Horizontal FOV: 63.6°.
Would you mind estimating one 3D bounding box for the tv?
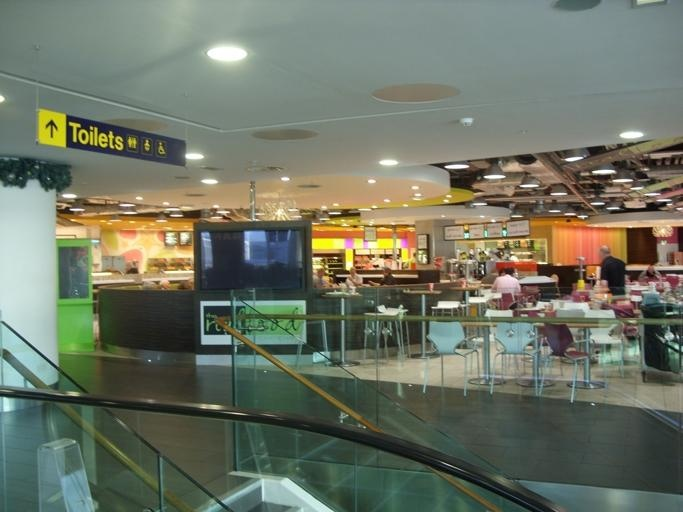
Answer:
[{"bbox_3d":[-1.378,0.040,8.899,2.115,0.844,0.169,0,4,8],"label":"tv"}]

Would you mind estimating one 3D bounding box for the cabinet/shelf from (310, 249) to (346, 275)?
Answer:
[{"bbox_3d":[-0.642,0.276,25.569,1.690,1.088,0.433,6,-23,-24],"label":"cabinet/shelf"}]

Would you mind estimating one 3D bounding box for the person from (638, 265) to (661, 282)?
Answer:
[{"bbox_3d":[8.685,0.552,15.582,0.739,0.542,0.923,4,5,25],"label":"person"}]
